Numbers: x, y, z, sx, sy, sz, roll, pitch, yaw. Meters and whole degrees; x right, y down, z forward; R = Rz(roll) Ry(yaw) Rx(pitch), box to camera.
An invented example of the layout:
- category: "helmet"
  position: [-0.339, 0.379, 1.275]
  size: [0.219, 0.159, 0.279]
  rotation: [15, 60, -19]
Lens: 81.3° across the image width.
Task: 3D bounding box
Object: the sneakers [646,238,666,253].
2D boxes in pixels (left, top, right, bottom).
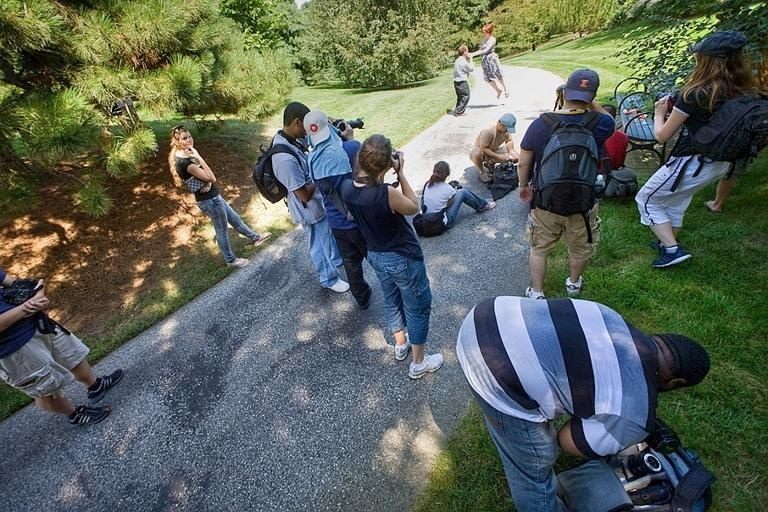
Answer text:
- category: "sneakers"
  position: [3.837, -0.141, 6.327]
  size: [0.074, 0.138, 0.221]
  rotation: [-37, 53, 15]

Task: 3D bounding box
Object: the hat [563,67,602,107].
- category: "hat"
  position: [2.334, -2.012, 5.278]
  size: [0.299, 0.244, 0.474]
  rotation: [14, 59, 11]

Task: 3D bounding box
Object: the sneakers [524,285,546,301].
- category: "sneakers"
  position: [1.935, 0.469, 5.736]
  size: [0.100, 0.123, 0.278]
  rotation: [-1, 16, 1]

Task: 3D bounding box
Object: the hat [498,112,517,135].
- category: "hat"
  position: [2.161, -2.306, 7.886]
  size: [0.259, 0.367, 0.250]
  rotation: [-1, 39, 7]

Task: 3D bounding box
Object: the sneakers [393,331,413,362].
- category: "sneakers"
  position: [0.249, 1.132, 5.813]
  size: [0.181, 0.195, 0.447]
  rotation: [-1, 32, 18]

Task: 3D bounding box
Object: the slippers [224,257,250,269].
- category: "slippers"
  position: [-2.464, 0.085, 7.567]
  size: [0.361, 0.175, 0.143]
  rotation: [-10, 29, -16]

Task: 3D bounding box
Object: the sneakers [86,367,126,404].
- category: "sneakers"
  position: [-3.694, 1.686, 6.066]
  size: [0.187, 0.252, 0.537]
  rotation: [13, 38, 17]

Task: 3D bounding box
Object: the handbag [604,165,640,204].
- category: "handbag"
  position: [3.892, -1.165, 7.268]
  size: [0.492, 0.488, 0.494]
  rotation: [-2, 1, -23]

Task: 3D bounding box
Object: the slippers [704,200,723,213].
- category: "slippers"
  position: [4.876, -0.736, 6.672]
  size: [0.091, 0.178, 0.279]
  rotation: [-3, 46, 0]

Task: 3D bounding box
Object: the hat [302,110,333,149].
- category: "hat"
  position: [-0.793, -1.534, 5.451]
  size: [0.279, 0.434, 0.216]
  rotation: [-15, -5, 13]

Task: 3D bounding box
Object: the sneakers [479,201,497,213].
- category: "sneakers"
  position: [1.822, -0.884, 7.861]
  size: [0.305, 0.134, 0.134]
  rotation: [-11, 58, 6]

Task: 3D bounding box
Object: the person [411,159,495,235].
- category: "person"
  position: [1.126, -0.954, 7.500]
  size: [1.302, 0.919, 1.213]
  rotation: [22, 51, 37]

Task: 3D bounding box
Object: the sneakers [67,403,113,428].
- category: "sneakers"
  position: [-3.733, 2.019, 5.776]
  size: [0.465, 0.223, 0.232]
  rotation: [-4, 41, -6]

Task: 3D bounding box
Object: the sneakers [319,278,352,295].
- category: "sneakers"
  position: [-0.741, 0.466, 6.894]
  size: [0.370, 0.155, 0.216]
  rotation: [-2, 35, 14]

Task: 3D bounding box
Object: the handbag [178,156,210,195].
- category: "handbag"
  position: [-2.897, -1.221, 6.801]
  size: [0.341, 0.555, 0.349]
  rotation: [-25, 42, -21]

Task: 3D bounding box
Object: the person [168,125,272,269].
- category: "person"
  position: [-3.019, -0.986, 8.222]
  size: [1.542, 3.015, 0.855]
  rotation: [-21, 67, -18]

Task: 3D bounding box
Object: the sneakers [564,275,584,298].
- category: "sneakers"
  position: [2.557, 0.410, 6.094]
  size: [0.151, 0.145, 0.321]
  rotation: [6, 33, 32]

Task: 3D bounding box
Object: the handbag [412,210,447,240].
- category: "handbag"
  position: [0.748, -0.535, 7.393]
  size: [0.543, 0.553, 0.376]
  rotation: [0, 24, 8]

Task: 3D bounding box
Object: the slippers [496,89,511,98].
- category: "slippers"
  position: [3.533, -4.761, 13.212]
  size: [0.267, 0.333, 0.824]
  rotation: [1, 15, 28]

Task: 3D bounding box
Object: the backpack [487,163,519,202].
- category: "backpack"
  position: [2.179, -1.390, 8.165]
  size: [0.678, 0.251, 0.560]
  rotation: [-32, 53, -4]

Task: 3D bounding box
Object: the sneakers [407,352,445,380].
- category: "sneakers"
  position: [0.546, 1.359, 5.715]
  size: [0.473, 0.210, 0.216]
  rotation: [-25, 35, -23]

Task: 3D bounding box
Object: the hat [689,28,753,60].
- category: "hat"
  position: [3.887, -2.458, 5.196]
  size: [0.333, 0.151, 0.488]
  rotation: [-13, 30, 9]
